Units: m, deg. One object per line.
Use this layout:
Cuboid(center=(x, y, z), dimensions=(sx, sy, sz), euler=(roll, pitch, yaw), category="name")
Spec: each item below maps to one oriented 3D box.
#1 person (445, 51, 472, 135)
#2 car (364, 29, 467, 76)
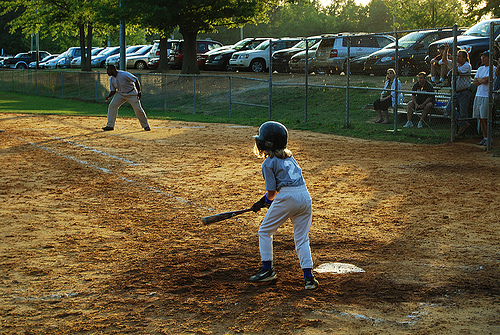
Cuboid(center=(5.785, -2.142, 20.620), dimensions=(1.068, 2.351, 1.065), euler=(1, 10, 10), category="person")
Cuboid(center=(5.550, -4.059, 26.029), dimensions=(4.035, 1.352, 1.834), euler=(1, 10, 8), category="car")
